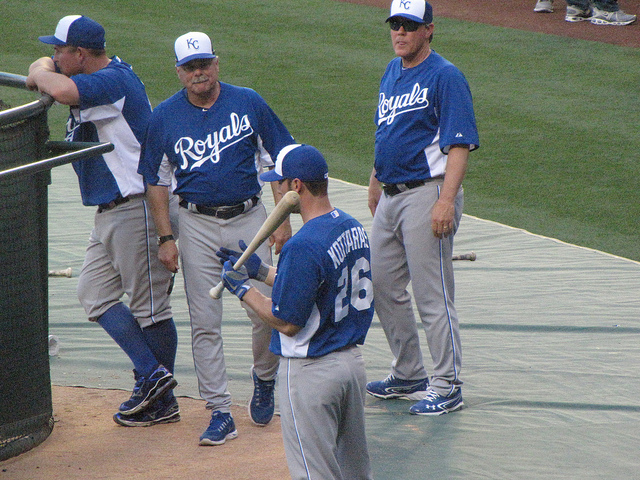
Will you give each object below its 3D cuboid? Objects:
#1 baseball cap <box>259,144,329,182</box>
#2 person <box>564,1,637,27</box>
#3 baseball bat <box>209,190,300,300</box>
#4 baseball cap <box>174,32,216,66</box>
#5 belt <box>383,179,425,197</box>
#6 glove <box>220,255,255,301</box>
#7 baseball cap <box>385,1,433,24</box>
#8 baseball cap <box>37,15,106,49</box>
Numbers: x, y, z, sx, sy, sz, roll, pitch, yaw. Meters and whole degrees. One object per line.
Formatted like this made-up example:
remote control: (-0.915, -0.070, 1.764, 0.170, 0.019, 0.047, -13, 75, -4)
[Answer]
baseball cap: (-0.171, -0.557, 9.039, 0.591, 0.250, 0.360, -2, 22, 0)
person: (3.890, -3.150, 18.304, 0.352, 0.352, 0.982, -13, 25, -39)
baseball bat: (-0.488, 0.030, 9.414, 0.144, 1.093, 0.190, 46, 14, -21)
baseball cap: (-0.948, -1.428, 9.834, 0.343, 0.181, 0.397, -13, 8, -7)
belt: (0.645, -0.411, 10.100, 0.205, 0.051, 0.143, -8, 1, -24)
glove: (-0.572, 0.259, 9.060, 0.188, 0.271, 0.285, -15, 28, -40)
baseball cap: (0.703, -1.749, 10.113, 0.337, 0.179, 0.257, 5, 20, 2)
baseball cap: (-1.815, -1.559, 10.015, 0.543, 0.240, 0.326, 7, 5, 30)
